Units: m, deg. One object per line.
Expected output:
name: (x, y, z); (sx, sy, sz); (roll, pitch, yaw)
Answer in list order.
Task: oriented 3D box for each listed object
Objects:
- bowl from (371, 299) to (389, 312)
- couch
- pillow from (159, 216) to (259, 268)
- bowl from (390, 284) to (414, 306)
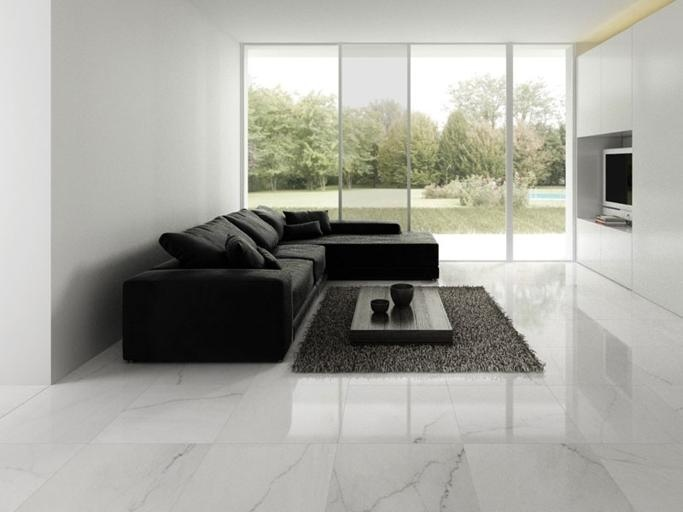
bowl: (0.324, 0.432, 4.340); (0.115, 0.069, 0.114); (-2, 1, 0)
couch: (-0.158, 0.045, 5.395); (2.374, 0.951, 3.914); (1, 12, 11)
pillow: (-1.285, -0.102, 4.442); (0.587, 0.189, 0.602); (21, 15, 36)
bowl: (0.539, 0.348, 4.391); (0.175, 0.164, 0.197); (1, -5, -2)
